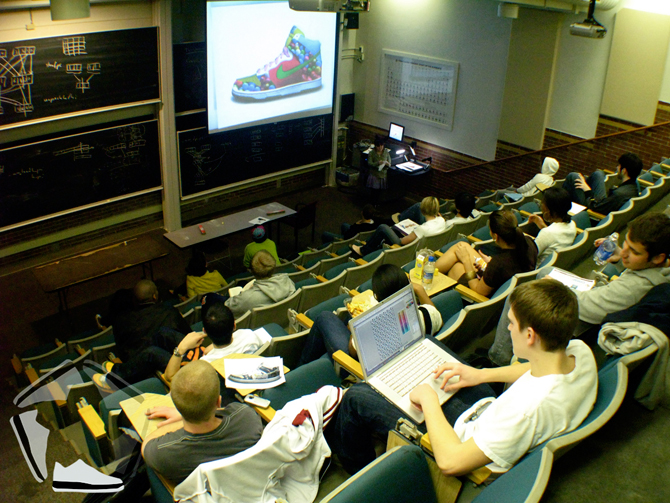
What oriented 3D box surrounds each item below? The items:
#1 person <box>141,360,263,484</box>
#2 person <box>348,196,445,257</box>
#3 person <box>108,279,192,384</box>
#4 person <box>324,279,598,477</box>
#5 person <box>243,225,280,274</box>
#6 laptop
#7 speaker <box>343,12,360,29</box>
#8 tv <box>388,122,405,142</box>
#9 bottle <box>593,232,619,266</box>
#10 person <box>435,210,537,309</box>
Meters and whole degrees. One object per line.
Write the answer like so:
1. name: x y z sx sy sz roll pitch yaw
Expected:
1. person: -0.727 0.932 2.571 0.536 0.352 0.706 -15 32 -20
2. person: 0.850 -0.339 6.938 0.621 0.824 0.723 -26 44 -25
3. person: -1.646 0.721 4.388 0.351 0.729 0.426 -19 62 -21
4. person: 0.662 0.696 2.647 0.533 1.002 0.797 -23 42 -31
5. person: -0.979 -0.065 6.654 0.460 0.721 0.450 -8 42 -7
6. laptop: 0.360 0.706 3.020 0.652 0.473 0.579 -26 48 -30
7. speaker: 0.368 -5.009 10.755 0.293 0.311 0.700 2 23 5
8. tv: 1.366 -2.635 10.909 0.368 0.368 0.049 28 37 33
9. bottle: 2.466 -0.062 4.456 0.172 0.313 0.174 -1 28 1
10. person: 1.370 0.079 4.532 0.344 0.776 0.657 -30 60 -28
